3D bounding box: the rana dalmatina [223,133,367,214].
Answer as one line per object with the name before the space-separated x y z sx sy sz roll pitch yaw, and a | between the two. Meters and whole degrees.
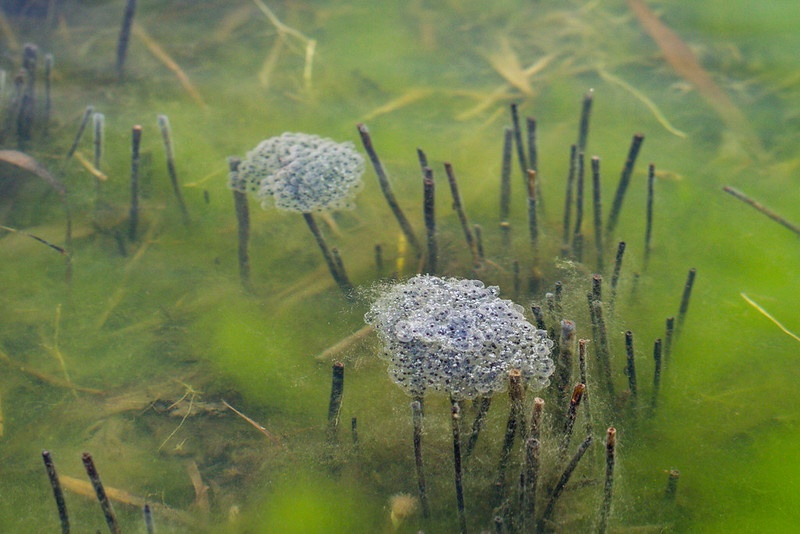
rana dalmatina | -0.668 -0.590 7.190 0.809 0.085 0.545 15 67 11
